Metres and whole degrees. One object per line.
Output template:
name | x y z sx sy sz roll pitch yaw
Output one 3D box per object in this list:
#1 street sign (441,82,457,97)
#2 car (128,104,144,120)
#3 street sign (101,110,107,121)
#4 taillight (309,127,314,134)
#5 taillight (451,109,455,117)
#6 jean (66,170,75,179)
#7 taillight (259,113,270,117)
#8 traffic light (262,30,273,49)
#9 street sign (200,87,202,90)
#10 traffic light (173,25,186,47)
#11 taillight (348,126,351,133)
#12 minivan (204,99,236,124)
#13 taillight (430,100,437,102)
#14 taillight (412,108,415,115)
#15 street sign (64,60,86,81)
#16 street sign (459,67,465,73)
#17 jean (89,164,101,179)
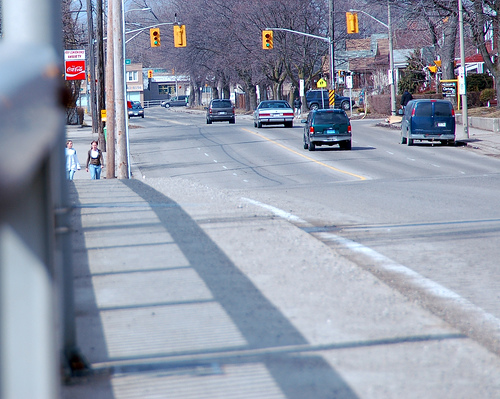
street sign | 10.434 -5.689 36.888 0.631 0.640 0.366 4 26 13
car | -11.759 -9.088 73.326 1.457 1.409 2.569 -3 8 -7
street sign | -5.086 -2.904 24.716 0.131 0.381 1.585 -4 9 -14
taillight | 2.584 -2.820 29.191 0.188 0.356 0.194 1 10 2
taillight | 8.238 -3.462 28.640 0.082 0.311 0.391 0 8 21
jean | -4.156 -0.576 16.434 0.175 0.249 0.089 5 -4 19
taillight | 0.905 -5.047 42.520 0.636 0.150 0.151 -1 8 6
traffic light | 1.116 -9.679 43.179 0.476 0.979 0.691 -4 8 -13
street sign | -7.418 -16.735 107.892 0.395 0.375 0.414 2 31 2
traffic light | -4.254 -9.995 43.427 0.634 1.196 1.431 -3 8 -8
taillight | 4.125 -2.863 29.218 0.113 0.292 0.183 -3 7 -4
minivan | -2.018 -6.180 50.269 1.898 1.698 1.539 -3 8 -2
taillight | 7.450 -3.951 28.628 0.285 0.067 0.145 -6 9 -22
taillight | 6.695 -3.546 28.844 0.099 0.267 0.328 -1 8 10
street sign | -8.190 -6.037 33.262 0.847 0.909 2.015 -4 9 -15
street sign | 9.929 -5.966 32.952 0.223 0.253 2.665 0 9 17
jean | -4.809 -0.868 22.031 0.338 0.480 0.422 -4 8 -15
